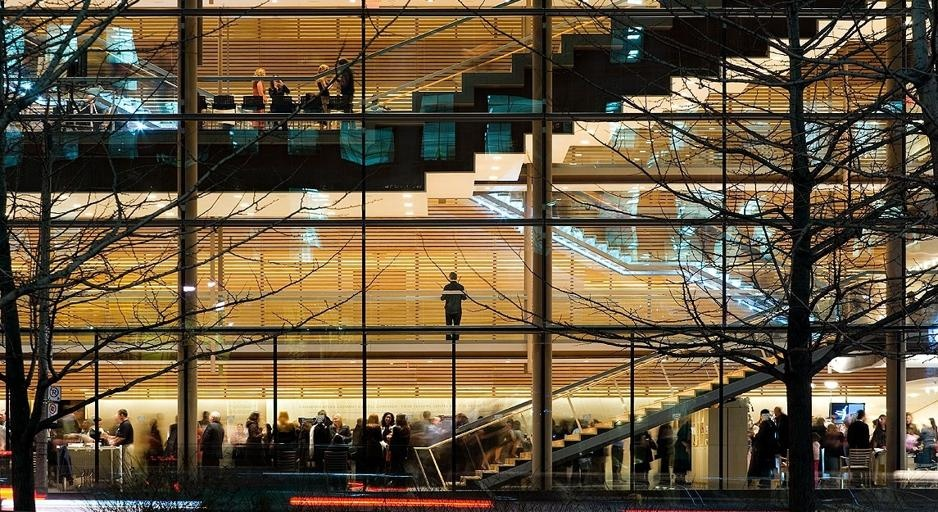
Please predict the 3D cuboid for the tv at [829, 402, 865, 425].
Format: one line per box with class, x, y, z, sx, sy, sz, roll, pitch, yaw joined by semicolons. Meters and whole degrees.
tv;10.182;4.194;46.809;0.933;0.553;0.106;-4;-54;26
